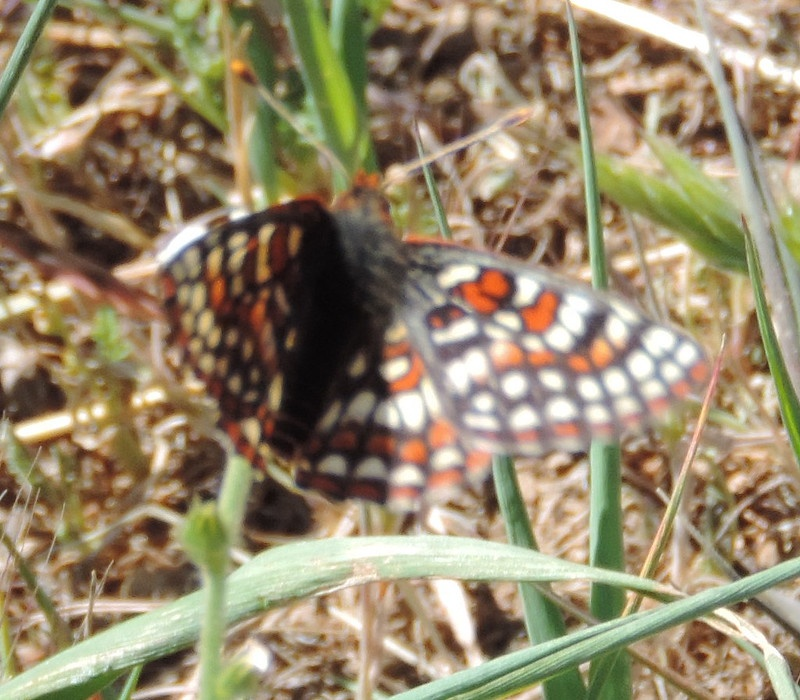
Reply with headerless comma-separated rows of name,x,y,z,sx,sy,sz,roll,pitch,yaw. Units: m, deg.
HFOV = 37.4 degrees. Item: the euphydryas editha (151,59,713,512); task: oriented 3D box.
euphydryas editha,-0.064,-0.004,1.140,0.449,0.243,0.122,-12,45,15
